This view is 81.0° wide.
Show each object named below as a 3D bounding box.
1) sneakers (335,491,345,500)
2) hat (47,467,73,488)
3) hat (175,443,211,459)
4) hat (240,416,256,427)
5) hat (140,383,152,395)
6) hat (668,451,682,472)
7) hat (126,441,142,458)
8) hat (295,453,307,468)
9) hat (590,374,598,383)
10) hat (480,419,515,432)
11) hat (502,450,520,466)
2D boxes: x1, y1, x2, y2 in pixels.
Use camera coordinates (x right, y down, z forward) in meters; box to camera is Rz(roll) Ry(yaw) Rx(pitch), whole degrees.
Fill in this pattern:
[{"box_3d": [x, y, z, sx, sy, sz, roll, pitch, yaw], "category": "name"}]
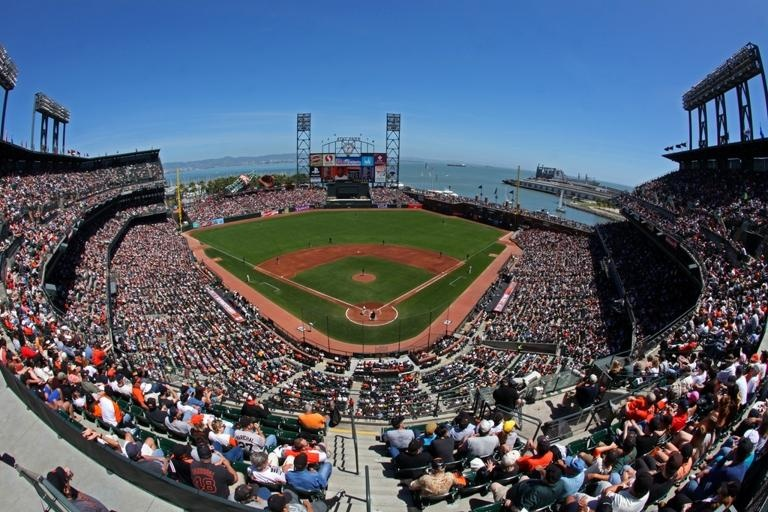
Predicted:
[{"box_3d": [-1.178, 7.088, 13.392, 0.121, 0.141, 0.364, 9, 14, 23], "category": "sneakers"}, {"box_3d": [-8.902, 5.887, 11.982, 0.519, 0.123, 0.527, 37, 9, 37], "category": "hat"}, {"box_3d": [-5.665, 5.659, 13.041, 0.888, 0.382, 0.573, 12, 6, -29], "category": "hat"}, {"box_3d": [-4.568, 5.438, 14.760, 0.365, 0.436, 0.439, -2, -15, 17], "category": "hat"}, {"box_3d": [-9.402, 5.029, 17.221, 0.406, 0.182, 1.007, -5, 14, -27], "category": "hat"}, {"box_3d": [8.577, 5.579, 12.227, 0.449, 0.461, 0.269, -8, 15, -35], "category": "hat"}, {"box_3d": [-7.591, 5.695, 13.204, 0.140, 0.398, 0.471, -18, -2, 24], "category": "hat"}, {"box_3d": [-2.360, 5.917, 12.977, 0.389, 0.434, 0.188, -2, 12, -12], "category": "hat"}, {"box_3d": [8.365, 4.483, 16.399, 0.293, 0.223, 0.237, 42, 4, 33], "category": "hat"}, {"box_3d": [4.046, 5.470, 14.367, 0.875, 0.212, 0.518, -3, 3, -22], "category": "hat"}, {"box_3d": [4.244, 6.029, 13.417, 0.571, 0.178, 0.371, -7, 12, -34], "category": "hat"}]
